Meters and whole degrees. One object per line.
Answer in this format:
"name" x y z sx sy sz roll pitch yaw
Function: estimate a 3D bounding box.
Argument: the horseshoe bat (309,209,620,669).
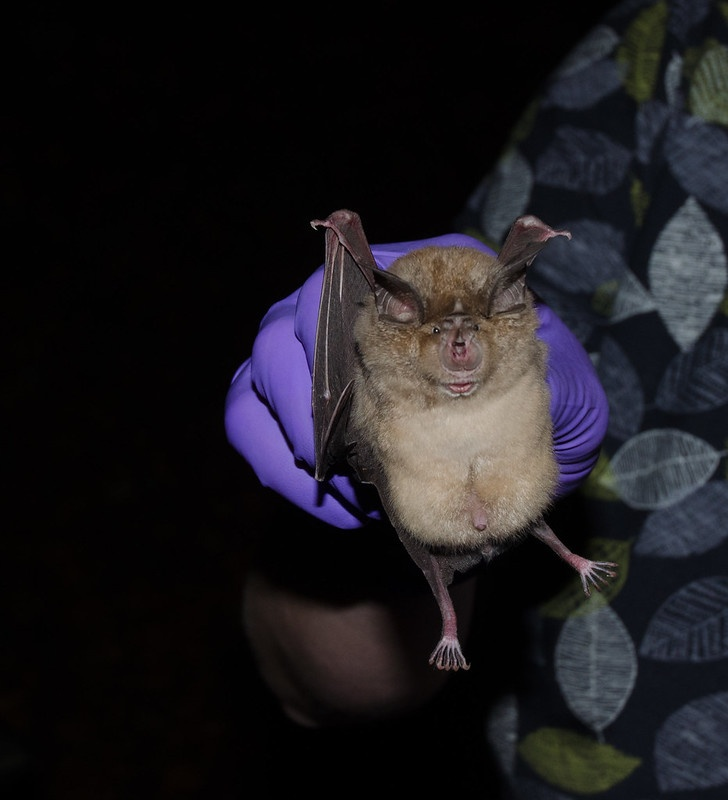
"horseshoe bat" 0.147 0.005 1.950 0.512 0.732 0.624 -23 40 -15
